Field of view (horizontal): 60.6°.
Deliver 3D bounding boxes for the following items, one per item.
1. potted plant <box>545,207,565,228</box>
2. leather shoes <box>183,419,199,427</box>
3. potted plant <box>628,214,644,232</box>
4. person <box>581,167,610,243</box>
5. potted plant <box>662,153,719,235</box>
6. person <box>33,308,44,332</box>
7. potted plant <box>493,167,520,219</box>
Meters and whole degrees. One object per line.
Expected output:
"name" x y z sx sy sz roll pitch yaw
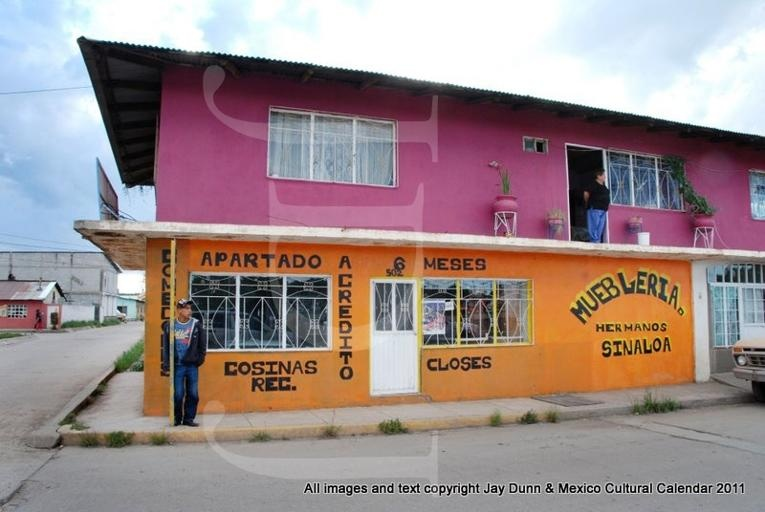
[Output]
"potted plant" 4.974 -1.092 18.614 0.449 0.475 0.465 -1 -6 12
"leather shoes" -4.318 3.791 14.840 0.379 0.157 0.128 1 -5 -5
"potted plant" 7.560 -0.934 19.381 0.408 0.428 0.420 0 -4 20
"person" 6.242 -1.429 18.893 0.645 2.092 1.229 3 7 19
"potted plant" 9.588 -1.978 20.377 1.478 2.250 0.664 3 7 24
"person" -24.475 4.477 46.496 0.640 1.243 1.066 -4 8 -30
"potted plant" 3.452 -1.789 18.062 0.671 1.402 0.822 2 7 14
